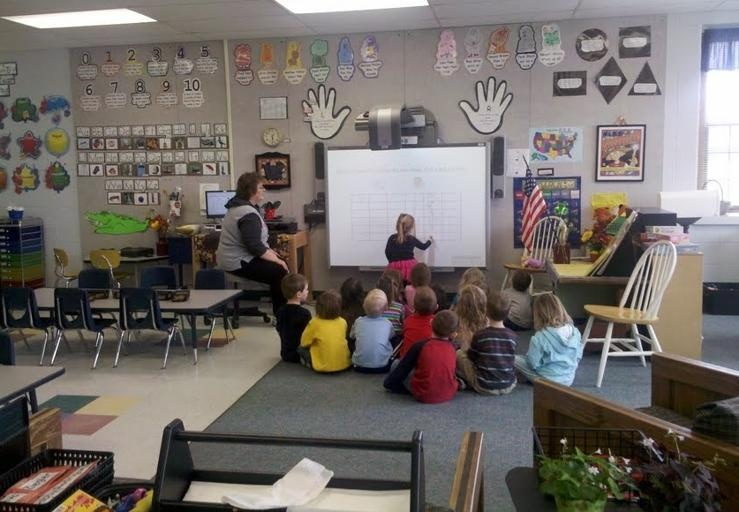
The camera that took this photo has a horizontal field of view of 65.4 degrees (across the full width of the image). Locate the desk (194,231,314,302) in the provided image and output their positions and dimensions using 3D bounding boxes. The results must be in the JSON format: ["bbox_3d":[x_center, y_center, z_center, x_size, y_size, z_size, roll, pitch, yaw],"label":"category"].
[{"bbox_3d":[-1.439,0.013,7.600,1.142,0.792,0.801,0,3,11],"label":"desk"}]

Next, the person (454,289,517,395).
[{"bbox_3d":[1.026,0.725,4.984,0.631,0.836,0.687,4,3,25],"label":"person"}]

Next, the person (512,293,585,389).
[{"bbox_3d":[1.501,0.706,4.961,0.621,0.736,0.599,-1,7,14],"label":"person"}]

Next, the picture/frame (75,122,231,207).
[{"bbox_3d":[-3.130,-1.308,8.284,2.335,1.121,0.404,2,13,18],"label":"picture/frame"}]

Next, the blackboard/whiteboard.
[{"bbox_3d":[0.577,-0.687,7.495,1.806,1.252,0.083,0,1,8],"label":"blackboard/whiteboard"}]

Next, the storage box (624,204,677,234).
[{"bbox_3d":[2.864,-0.331,5.769,0.365,0.197,0.176,3,13,19],"label":"storage box"}]

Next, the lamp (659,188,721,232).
[{"bbox_3d":[3.765,-0.421,6.830,0.644,0.720,0.290,1,7,14],"label":"lamp"}]

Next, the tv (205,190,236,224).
[{"bbox_3d":[-1.911,-0.637,7.387,0.579,0.410,0.074,2,6,5],"label":"tv"}]

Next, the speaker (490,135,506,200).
[{"bbox_3d":[1.650,-1.127,7.389,0.202,0.795,0.097,1,13,13],"label":"speaker"}]

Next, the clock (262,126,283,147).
[{"bbox_3d":[-1.339,-1.626,7.889,0.298,0.273,0.048,2,13,15],"label":"clock"}]

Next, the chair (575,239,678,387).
[{"bbox_3d":[2.276,0.442,5.099,0.812,1.126,0.817,1,5,26],"label":"chair"}]

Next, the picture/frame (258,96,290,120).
[{"bbox_3d":[-1.290,-2.027,7.848,0.343,0.247,0.045,1,3,11],"label":"picture/frame"}]

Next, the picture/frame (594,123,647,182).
[{"bbox_3d":[3.175,-1.318,7.201,0.755,0.892,0.067,1,2,7],"label":"picture/frame"}]

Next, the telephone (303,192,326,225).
[{"bbox_3d":[-0.718,-0.654,7.828,0.396,0.381,0.378,0,2,1],"label":"telephone"}]

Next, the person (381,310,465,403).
[{"bbox_3d":[0.495,0.819,4.816,0.654,0.765,0.542,6,2,-20],"label":"person"}]
